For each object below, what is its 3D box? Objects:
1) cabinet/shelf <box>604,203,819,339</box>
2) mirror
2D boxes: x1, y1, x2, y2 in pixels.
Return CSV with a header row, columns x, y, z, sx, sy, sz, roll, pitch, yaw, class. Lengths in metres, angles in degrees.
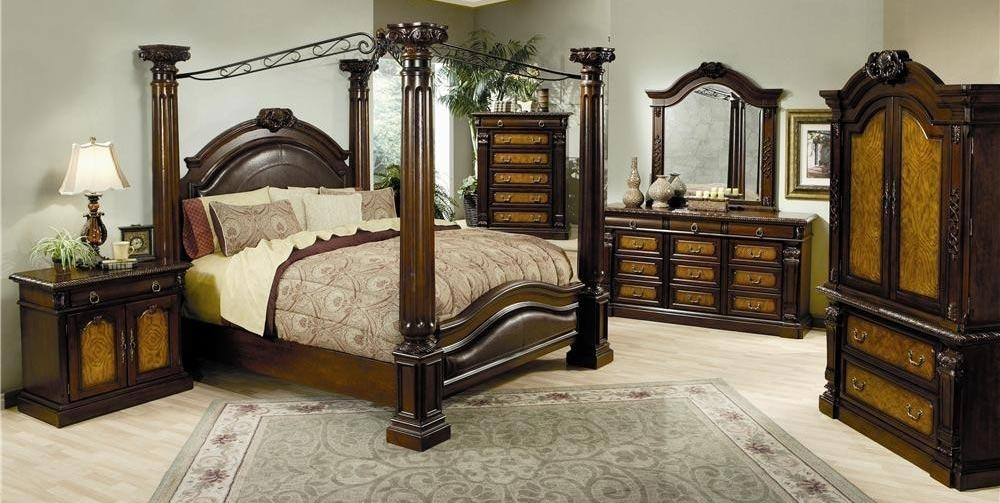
x,y,z,sx,sy,sz,roll,pitch,yaw,class
2.803,0.215,8.487,1.078,1.472,2.972,-3,5,-41,cabinet/shelf
2.912,-1.519,8.340,2.419,2.059,0.242,3,7,26,mirror
